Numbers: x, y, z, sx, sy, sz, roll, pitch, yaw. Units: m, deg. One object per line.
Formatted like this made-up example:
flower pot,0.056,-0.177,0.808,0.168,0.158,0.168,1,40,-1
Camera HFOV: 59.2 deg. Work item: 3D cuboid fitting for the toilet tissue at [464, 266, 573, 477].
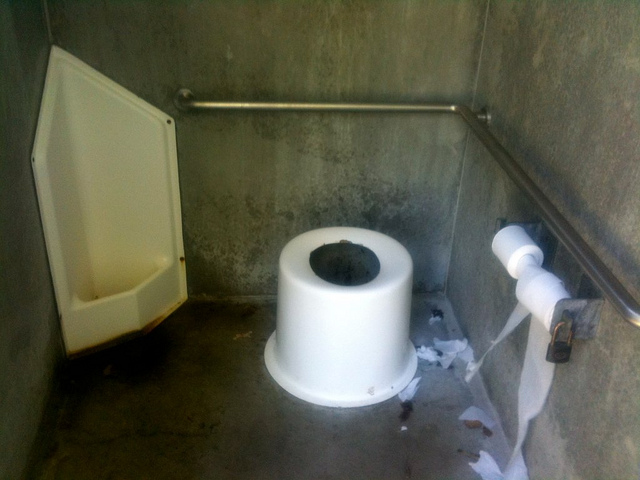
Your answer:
toilet tissue,0.502,0.294,1.386,0.141,0.479,0.258,1,29,-6

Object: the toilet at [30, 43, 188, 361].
toilet,-0.632,-0.100,1.743,0.350,0.889,0.397,-1,31,-4

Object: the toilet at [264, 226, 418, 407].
toilet,0.063,0.235,1.740,0.441,0.389,0.413,-12,34,-22
